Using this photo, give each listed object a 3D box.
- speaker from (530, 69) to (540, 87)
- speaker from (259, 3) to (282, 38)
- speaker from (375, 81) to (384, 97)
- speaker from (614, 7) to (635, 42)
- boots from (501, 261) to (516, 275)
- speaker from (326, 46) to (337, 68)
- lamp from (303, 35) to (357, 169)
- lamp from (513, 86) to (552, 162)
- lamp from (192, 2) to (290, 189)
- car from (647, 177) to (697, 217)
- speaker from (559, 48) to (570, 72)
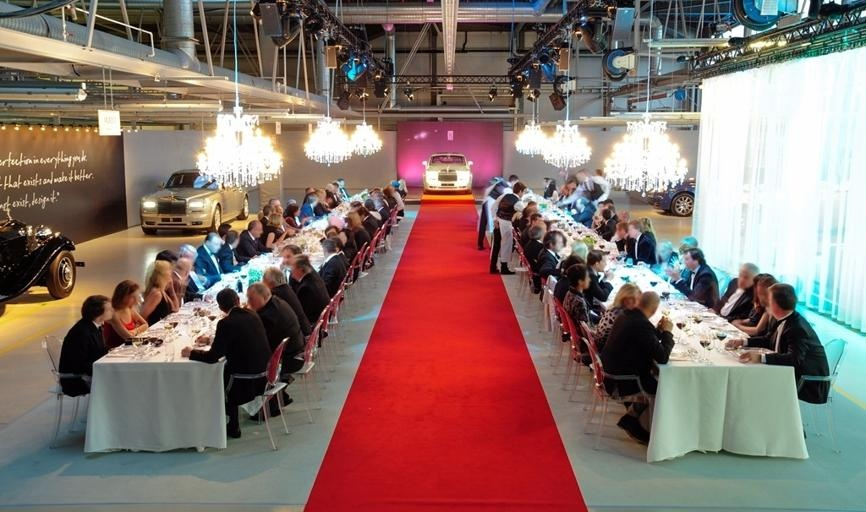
[{"bbox_3d":[3.509,-6.309,18.694,0.404,0.689,0.694,1,12,9],"label":"speaker"},{"bbox_3d":[-3.345,-4.888,10.992,0.413,0.598,0.284,-2,12,-2],"label":"speaker"},{"bbox_3d":[-2.229,-6.892,22.034,0.553,0.675,0.225,-1,-3,13],"label":"speaker"},{"bbox_3d":[3.754,-4.640,10.627,0.385,0.549,0.308,1,12,11],"label":"speaker"},{"bbox_3d":[1.951,0.309,14.434,0.483,0.440,0.218,-6,13,-17],"label":"boots"},{"bbox_3d":[-2.696,-5.296,14.058,0.241,0.535,0.370,-5,12,-15],"label":"speaker"},{"bbox_3d":[-3.800,-6.389,19.755,1.558,3.526,1.468,0,21,-11],"label":"lamp"},{"bbox_3d":[4.288,-5.673,22.908,1.015,2.409,0.987,-11,25,-15],"label":"lamp"},{"bbox_3d":[-4.457,-3.115,11.827,1.397,2.945,1.433,10,11,18],"label":"lamp"},{"bbox_3d":[10.172,-2.488,22.740,3.017,1.068,1.627,-4,11,3],"label":"car"},{"bbox_3d":[3.531,-5.395,14.489,0.245,0.541,0.504,0,12,9],"label":"speaker"}]
